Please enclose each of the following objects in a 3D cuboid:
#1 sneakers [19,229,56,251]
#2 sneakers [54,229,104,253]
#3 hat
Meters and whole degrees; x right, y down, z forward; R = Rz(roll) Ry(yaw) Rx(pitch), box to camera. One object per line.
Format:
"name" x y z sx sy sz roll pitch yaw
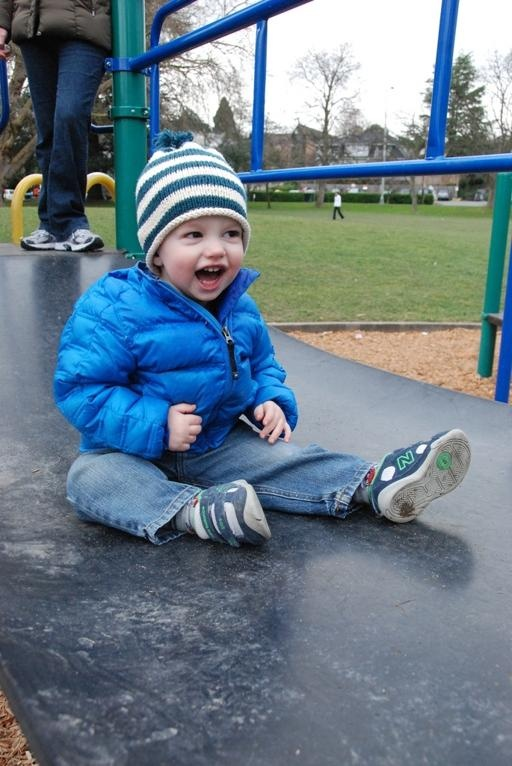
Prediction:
"sneakers" -1.049 -0.693 3.162 0.212 0.099 0.085 -1 24 -11
"sneakers" -0.825 -0.665 3.111 0.248 0.114 0.108 -1 7 20
"hat" -0.103 -0.308 1.184 0.188 0.246 0.246 -8 -1 -41
